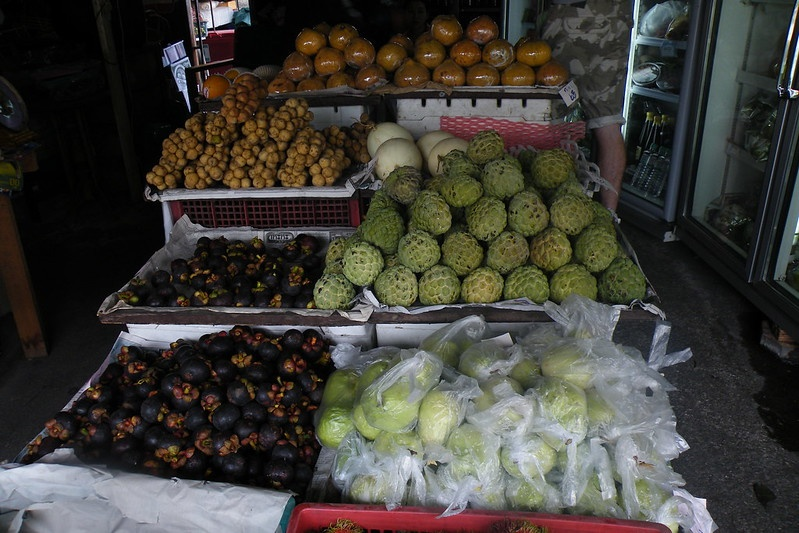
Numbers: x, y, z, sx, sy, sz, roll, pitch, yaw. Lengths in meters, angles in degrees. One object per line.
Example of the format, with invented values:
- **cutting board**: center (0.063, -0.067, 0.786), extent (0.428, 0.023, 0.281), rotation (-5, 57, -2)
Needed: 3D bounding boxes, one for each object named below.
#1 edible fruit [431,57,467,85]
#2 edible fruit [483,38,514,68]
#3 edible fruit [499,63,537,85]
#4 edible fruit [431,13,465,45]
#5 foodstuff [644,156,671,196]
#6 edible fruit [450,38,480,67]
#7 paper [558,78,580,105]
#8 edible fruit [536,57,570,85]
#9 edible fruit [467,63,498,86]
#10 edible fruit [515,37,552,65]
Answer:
- **edible fruit**: center (0.368, -1.408, 3.801), extent (0.213, 0.214, 0.211), rotation (4, 20, 3)
- **edible fruit**: center (0.737, -1.579, 3.948), extent (0.231, 0.178, 0.182), rotation (0, 68, 25)
- **edible fruit**: center (0.871, -1.386, 3.784), extent (0.186, 0.120, 0.188), rotation (8, 47, 13)
- **edible fruit**: center (0.379, -1.859, 3.993), extent (0.229, 0.229, 0.234), rotation (2, 71, 5)
- **foodstuff**: center (2.928, -1.019, 5.856), extent (0.184, 0.378, 0.371), rotation (14, 37, 22)
- **edible fruit**: center (0.495, -1.581, 3.866), extent (0.204, 0.205, 0.197), rotation (0, 5, 33)
- **paper**: center (1.205, -1.217, 3.676), extent (0.111, 0.175, 0.232), rotation (14, 37, 23)
- **edible fruit**: center (1.140, -1.397, 3.802), extent (0.203, 0.205, 0.200), rotation (8, 17, -17)
- **edible fruit**: center (0.615, -1.401, 3.789), extent (0.187, 0.114, 0.189), rotation (13, 44, 13)
- **edible fruit**: center (1.003, -1.581, 3.855), extent (0.213, 0.117, 0.210), rotation (19, 41, 25)
